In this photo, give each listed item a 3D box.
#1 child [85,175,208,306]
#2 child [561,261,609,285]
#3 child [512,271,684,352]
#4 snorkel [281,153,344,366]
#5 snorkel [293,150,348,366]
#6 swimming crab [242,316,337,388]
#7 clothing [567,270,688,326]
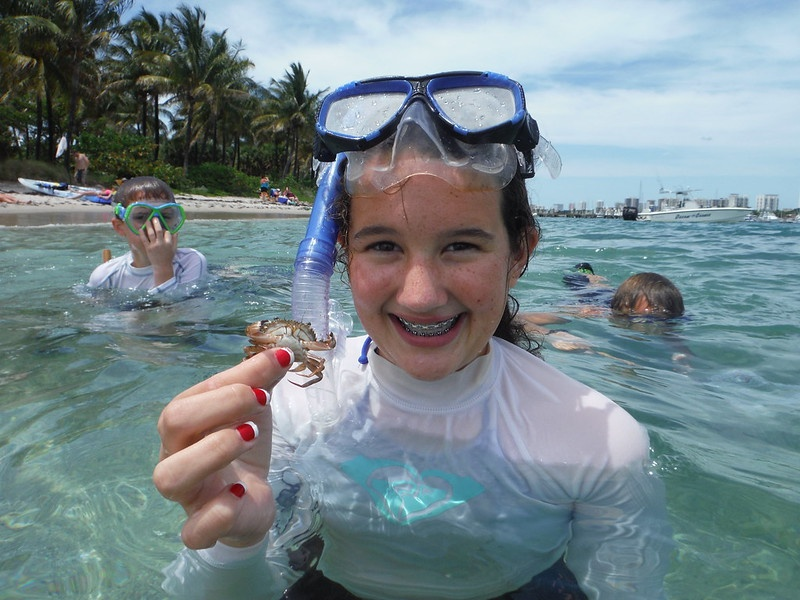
[{"bbox_3d":[-2.797,-0.599,6.269,1.166,1.437,1.037,-8,-4,3],"label":"child"},{"bbox_3d":[2.650,-0.340,8.274,0.455,0.187,0.540,6,9,2],"label":"child"},{"bbox_3d":[2.333,0.086,5.845,1.087,0.508,1.379,-2,3,-6],"label":"child"},{"bbox_3d":[-0.362,-0.198,2.507,0.171,1.050,0.164,13,-8,-21],"label":"snorkel"},{"bbox_3d":[-0.365,-0.195,2.524,0.178,1.049,0.167,10,-6,-16],"label":"snorkel"},{"bbox_3d":[-0.433,0.214,2.167,0.315,0.088,0.232,6,32,1],"label":"swimming crab"},{"bbox_3d":[2.598,-0.024,6.253,0.700,0.352,0.882,1,4,-14],"label":"clothing"}]
